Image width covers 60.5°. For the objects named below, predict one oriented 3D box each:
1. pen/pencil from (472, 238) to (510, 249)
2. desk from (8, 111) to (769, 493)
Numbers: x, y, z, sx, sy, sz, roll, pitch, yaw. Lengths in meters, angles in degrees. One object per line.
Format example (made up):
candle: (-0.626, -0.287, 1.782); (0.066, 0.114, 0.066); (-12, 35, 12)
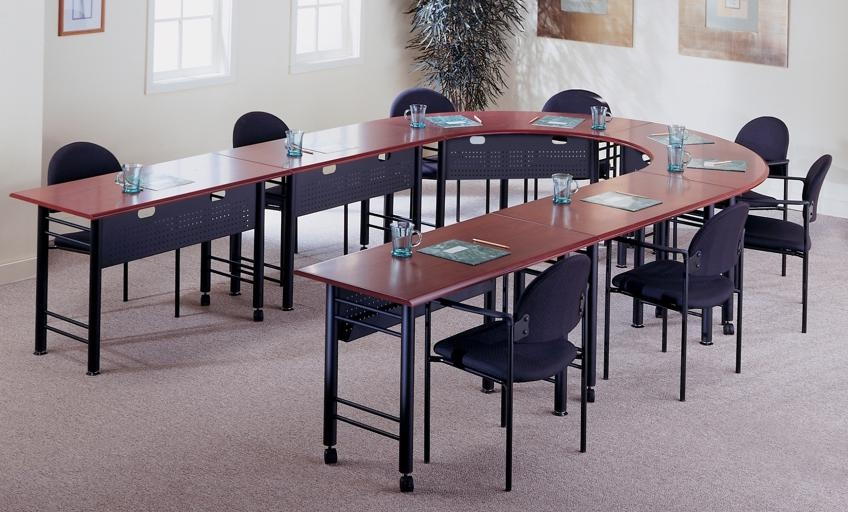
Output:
pen/pencil: (0.397, -0.068, 4.283); (0.195, 0.017, 0.016); (14, 13, 18)
desk: (0.151, 0.027, 5.160); (5.177, 1.913, 3.091); (-5, 13, -23)
